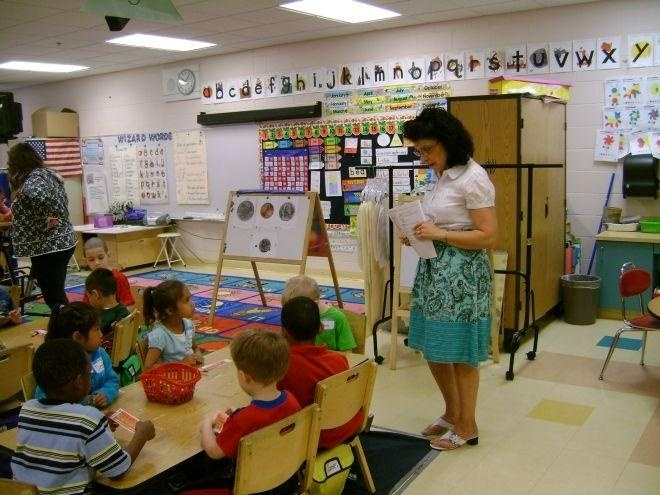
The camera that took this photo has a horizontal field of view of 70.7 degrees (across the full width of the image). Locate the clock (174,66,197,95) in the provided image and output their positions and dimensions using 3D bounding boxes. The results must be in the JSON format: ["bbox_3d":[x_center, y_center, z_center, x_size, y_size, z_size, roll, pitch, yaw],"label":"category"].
[{"bbox_3d":[-2.663,-3.079,8.599,0.528,0.544,0.062,6,5,33],"label":"clock"}]

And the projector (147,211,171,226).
[{"bbox_3d":[-3.358,-0.516,9.108,0.385,0.228,0.165,-3,8,13],"label":"projector"}]

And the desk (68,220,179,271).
[{"bbox_3d":[-3.869,0.111,9.115,1.022,0.518,1.025,-9,-8,-41],"label":"desk"}]

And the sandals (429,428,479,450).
[{"bbox_3d":[0.802,1.247,3.005,0.268,0.091,0.124,-3,14,-4],"label":"sandals"}]

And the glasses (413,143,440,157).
[{"bbox_3d":[0.590,-0.603,2.860,0.085,0.030,0.091,11,57,30],"label":"glasses"}]

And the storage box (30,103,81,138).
[{"bbox_3d":[-5.860,-2.535,9.933,0.774,0.710,0.780,4,6,41],"label":"storage box"}]

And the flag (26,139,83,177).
[{"bbox_3d":[-5.880,-1.796,9.929,1.290,0.977,0.078,1,5,14],"label":"flag"}]

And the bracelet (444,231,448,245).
[{"bbox_3d":[0.708,-0.052,2.873,0.027,0.086,0.079,1,10,14],"label":"bracelet"}]

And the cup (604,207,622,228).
[{"bbox_3d":[3.340,-0.345,5.512,0.179,0.230,0.155,4,11,29],"label":"cup"}]

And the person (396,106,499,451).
[{"bbox_3d":[0.744,0.219,2.981,0.563,2.169,0.369,2,10,17],"label":"person"}]
